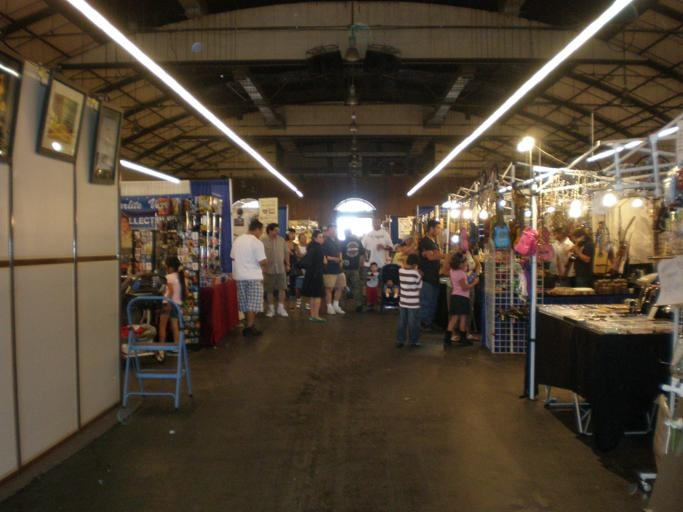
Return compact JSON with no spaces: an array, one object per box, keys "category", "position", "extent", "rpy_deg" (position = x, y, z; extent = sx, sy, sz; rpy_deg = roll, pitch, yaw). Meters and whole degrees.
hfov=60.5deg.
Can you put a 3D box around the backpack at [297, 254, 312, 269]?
[{"category":"backpack","position":[-0.719,0.101,11.212],"extent":[0.253,0.313,0.235],"rpy_deg":[-5,12,14]}]

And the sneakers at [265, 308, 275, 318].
[{"category":"sneakers","position":[-1.403,1.090,11.336],"extent":[0.090,0.125,0.275],"rpy_deg":[0,-3,4]}]

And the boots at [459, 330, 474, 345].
[{"category":"boots","position":[1.850,1.217,8.763],"extent":[0.265,0.271,0.115],"rpy_deg":[-7,5,-32]}]

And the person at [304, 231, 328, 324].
[{"category":"person","position":[-0.519,0.352,10.675],"extent":[0.379,1.224,0.689],"rpy_deg":[1,0,-3]}]

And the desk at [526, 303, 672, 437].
[{"category":"desk","position":[2.441,0.932,5.430],"extent":[0.880,0.683,1.216],"rpy_deg":[0,3,0]}]

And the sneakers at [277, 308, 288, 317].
[{"category":"sneakers","position":[-1.181,1.067,11.371],"extent":[0.320,0.186,0.111],"rpy_deg":[-2,-1,43]}]

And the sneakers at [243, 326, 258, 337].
[{"category":"sneakers","position":[-1.421,1.168,9.135],"extent":[0.097,0.152,0.331],"rpy_deg":[3,6,25]}]
